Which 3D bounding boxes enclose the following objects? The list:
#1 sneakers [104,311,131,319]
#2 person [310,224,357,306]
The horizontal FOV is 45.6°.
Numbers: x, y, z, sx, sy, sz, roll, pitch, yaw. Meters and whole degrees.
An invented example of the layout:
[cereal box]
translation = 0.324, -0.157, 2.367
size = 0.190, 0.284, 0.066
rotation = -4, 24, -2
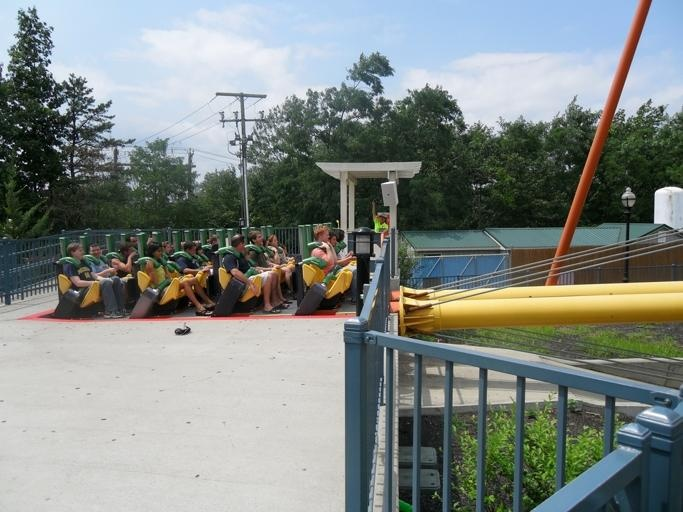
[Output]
[sneakers]
translation = -4.306, 1.127, 15.531
size = 0.448, 0.231, 0.174
rotation = 0, -1, -3
[person]
translation = -0.180, 0.120, 15.660
size = 0.795, 1.400, 1.578
rotation = 0, 2, 0
